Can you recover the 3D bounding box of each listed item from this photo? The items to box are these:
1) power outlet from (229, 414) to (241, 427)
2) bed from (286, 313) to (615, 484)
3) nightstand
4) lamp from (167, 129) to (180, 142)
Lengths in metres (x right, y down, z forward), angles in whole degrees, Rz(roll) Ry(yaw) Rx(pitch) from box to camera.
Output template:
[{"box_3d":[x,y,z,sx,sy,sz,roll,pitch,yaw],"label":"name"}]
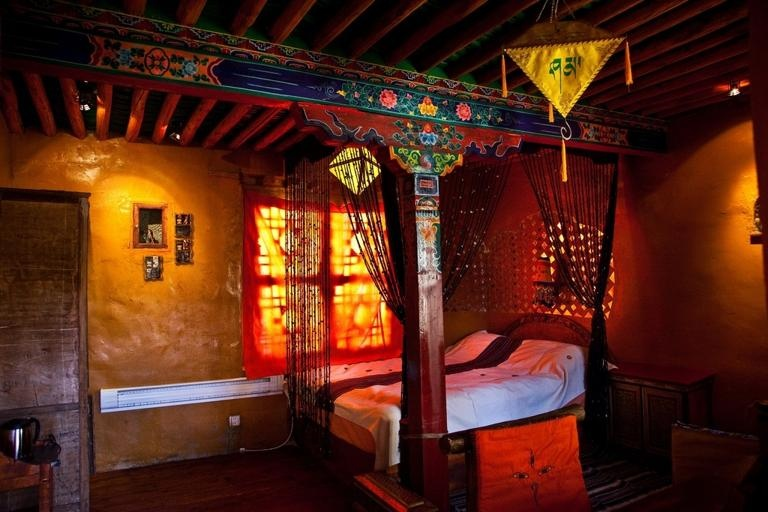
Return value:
[{"box_3d":[-1.797,1.975,6.709,0.148,0.145,0.076,3,-5,-32],"label":"power outlet"},{"box_3d":[0.881,1.439,6.052,2.315,0.788,1.772,-1,-3,-24],"label":"bed"},{"box_3d":[3.027,1.759,6.105,0.650,0.978,1.026,4,-6,-30],"label":"nightstand"},{"box_3d":[-2.363,-1.371,6.365,0.129,0.132,0.055,10,25,27],"label":"lamp"}]
